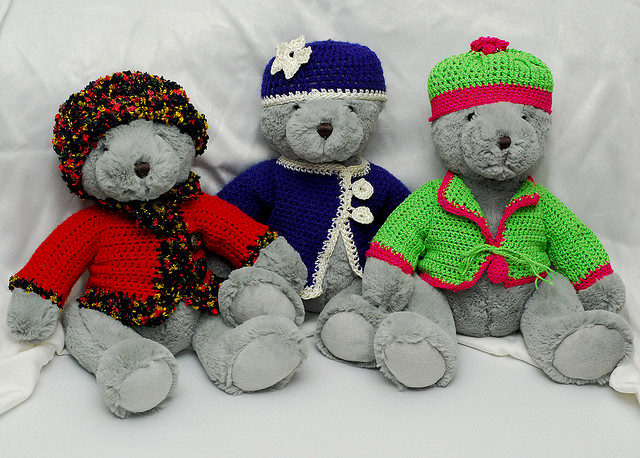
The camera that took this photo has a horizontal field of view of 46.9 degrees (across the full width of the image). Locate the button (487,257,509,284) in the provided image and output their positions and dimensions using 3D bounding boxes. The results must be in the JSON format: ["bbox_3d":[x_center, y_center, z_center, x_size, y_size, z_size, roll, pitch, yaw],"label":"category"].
[{"bbox_3d":[0.444,0.101,1.856,0.049,0.062,0.018,0,-4,26],"label":"button"}]

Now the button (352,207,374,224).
[{"bbox_3d":[0.116,-0.038,1.961,0.049,0.040,0.015,34,-16,3],"label":"button"}]

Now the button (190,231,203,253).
[{"bbox_3d":[-0.317,0.029,1.912,0.014,0.046,0.037,-4,-3,44],"label":"button"}]

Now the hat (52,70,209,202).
[{"bbox_3d":[-0.478,-0.284,1.926,0.311,0.143,0.367,-18,-15,33],"label":"hat"}]

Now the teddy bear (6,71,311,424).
[{"bbox_3d":[-0.372,0.019,1.753,0.721,0.683,0.562,6,26,11],"label":"teddy bear"}]

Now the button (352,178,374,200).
[{"bbox_3d":[0.112,-0.109,1.970,0.061,0.056,0.016,1,-5,-6],"label":"button"}]

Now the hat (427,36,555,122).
[{"bbox_3d":[0.457,-0.409,1.973,0.342,0.183,0.326,-10,13,-29],"label":"hat"}]

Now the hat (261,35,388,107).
[{"bbox_3d":[0.002,-0.429,2.046,0.357,0.174,0.342,-9,5,-44],"label":"hat"}]
